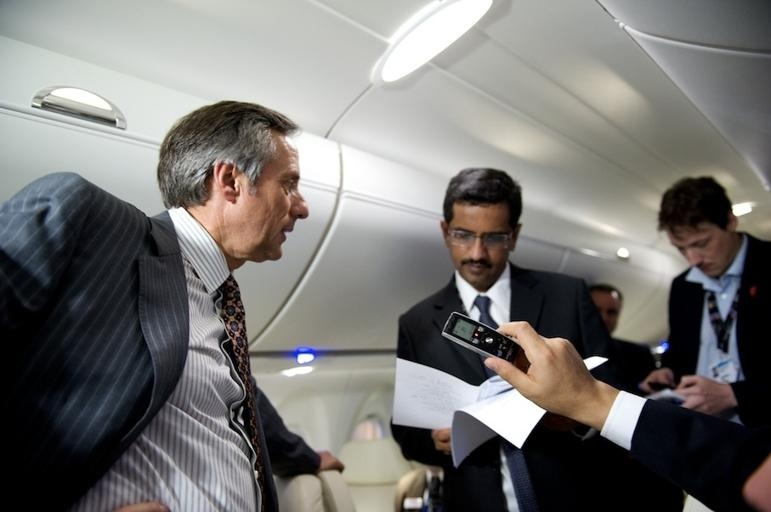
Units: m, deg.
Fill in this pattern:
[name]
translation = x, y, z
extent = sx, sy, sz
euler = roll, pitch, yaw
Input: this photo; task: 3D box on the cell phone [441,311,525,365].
[cell phone]
translation = 0.338, 0.306, 1.755
extent = 0.307, 0.151, 0.076
euler = 26, -15, 14
